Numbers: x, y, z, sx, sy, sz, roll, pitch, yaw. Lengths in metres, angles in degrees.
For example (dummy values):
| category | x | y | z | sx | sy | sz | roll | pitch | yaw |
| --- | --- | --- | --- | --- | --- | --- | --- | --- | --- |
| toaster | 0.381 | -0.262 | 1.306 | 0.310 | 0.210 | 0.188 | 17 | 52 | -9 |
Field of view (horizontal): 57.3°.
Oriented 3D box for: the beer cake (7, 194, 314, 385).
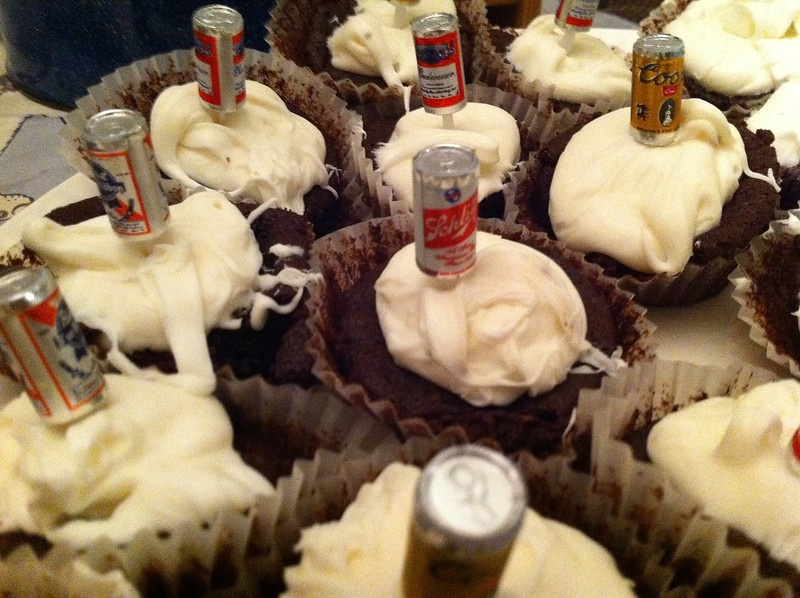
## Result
| category | x | y | z | sx | sy | sz | roll | pitch | yaw |
| --- | --- | --- | --- | --- | --- | --- | --- | --- | --- |
| beer cake | -0.658 | -0.038 | 1.982 | 0.618 | 0.211 | 0.538 | 26 | 54 | -5 |

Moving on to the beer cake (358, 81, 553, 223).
| category | x | y | z | sx | sy | sz | roll | pitch | yaw |
| --- | --- | --- | --- | --- | --- | --- | --- | --- | --- |
| beer cake | 0.225 | -0.572 | 2.539 | 0.596 | 0.192 | 0.558 | -18 | 54 | -11 |

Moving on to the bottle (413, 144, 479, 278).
| category | x | y | z | sx | sy | sz | roll | pitch | yaw |
| --- | --- | --- | --- | --- | --- | --- | --- | --- | --- |
| bottle | 0.110 | -0.206 | 1.793 | 0.159 | 0.316 | 0.124 | -12 | 40 | -9 |

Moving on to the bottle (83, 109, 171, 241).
| category | x | y | z | sx | sy | sz | roll | pitch | yaw |
| --- | --- | --- | --- | --- | --- | --- | --- | --- | --- |
| bottle | -0.676 | -0.307 | 1.847 | 0.146 | 0.308 | 0.146 | -3 | 39 | 3 |

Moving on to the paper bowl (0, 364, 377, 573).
| category | x | y | z | sx | sy | sz | roll | pitch | yaw |
| --- | --- | --- | --- | --- | --- | --- | --- | --- | --- |
| paper bowl | -0.429 | 0.512 | 2.084 | 0.616 | 0.194 | 0.594 | 11 | 38 | -9 |
